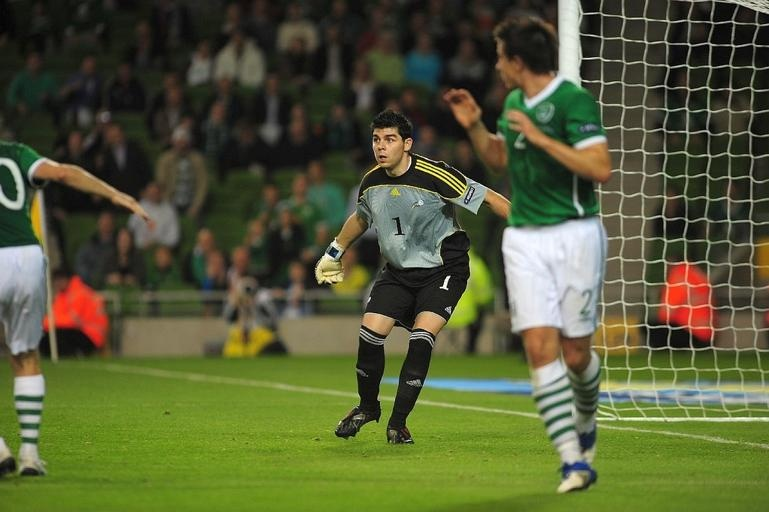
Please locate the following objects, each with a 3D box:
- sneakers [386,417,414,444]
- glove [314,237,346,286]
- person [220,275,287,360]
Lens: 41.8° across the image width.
[{"bbox_3d":[0.148,1.672,9.641,0.274,0.214,0.258,4,0,0],"label":"sneakers"},{"bbox_3d":[-0.575,0.063,10.402,0.295,0.443,0.161,0,17,-27],"label":"glove"},{"bbox_3d":[-2.337,1.143,17.622,0.966,1.343,0.320,5,0,-11],"label":"person"}]
